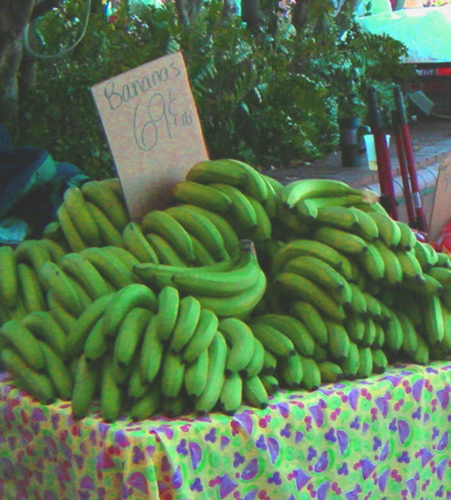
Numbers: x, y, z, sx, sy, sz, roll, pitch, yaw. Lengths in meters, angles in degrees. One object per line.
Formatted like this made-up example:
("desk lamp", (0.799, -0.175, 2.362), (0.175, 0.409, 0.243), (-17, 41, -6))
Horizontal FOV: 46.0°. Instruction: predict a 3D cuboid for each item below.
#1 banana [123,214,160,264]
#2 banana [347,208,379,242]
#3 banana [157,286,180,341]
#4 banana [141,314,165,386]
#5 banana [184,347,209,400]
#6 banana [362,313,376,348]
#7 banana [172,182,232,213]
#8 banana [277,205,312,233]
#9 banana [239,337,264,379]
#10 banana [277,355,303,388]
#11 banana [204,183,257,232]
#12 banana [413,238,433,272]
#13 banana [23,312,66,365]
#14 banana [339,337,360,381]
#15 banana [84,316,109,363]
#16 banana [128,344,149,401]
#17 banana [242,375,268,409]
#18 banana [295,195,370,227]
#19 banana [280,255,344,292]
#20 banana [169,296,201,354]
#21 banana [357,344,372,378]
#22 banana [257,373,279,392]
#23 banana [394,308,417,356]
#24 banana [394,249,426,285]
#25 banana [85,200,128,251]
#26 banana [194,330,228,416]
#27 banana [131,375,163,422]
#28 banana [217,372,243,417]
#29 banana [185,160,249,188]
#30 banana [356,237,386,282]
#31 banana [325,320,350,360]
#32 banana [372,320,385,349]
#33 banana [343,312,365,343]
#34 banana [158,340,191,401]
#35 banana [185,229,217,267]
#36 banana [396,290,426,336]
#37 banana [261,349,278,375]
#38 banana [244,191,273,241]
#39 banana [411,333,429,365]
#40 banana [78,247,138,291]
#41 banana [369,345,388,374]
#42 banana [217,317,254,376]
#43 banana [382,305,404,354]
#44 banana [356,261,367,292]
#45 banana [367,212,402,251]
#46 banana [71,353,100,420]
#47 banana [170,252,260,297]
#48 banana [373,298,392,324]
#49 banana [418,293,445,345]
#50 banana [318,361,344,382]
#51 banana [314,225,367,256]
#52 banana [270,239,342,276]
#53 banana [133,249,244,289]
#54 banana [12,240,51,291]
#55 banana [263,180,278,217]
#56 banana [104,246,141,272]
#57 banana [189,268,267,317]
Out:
("banana", (-0.319, -0.020, 1.989), (0.077, 0.073, 0.237), (-22, 65, -30))
("banana", (0.510, -0.085, 1.962), (0.065, 0.054, 0.195), (1, 31, 2))
("banana", (-0.161, 0.173, 1.550), (0.043, 0.045, 0.164), (-15, 28, 10))
("banana", (-0.199, 0.277, 1.458), (0.057, 0.048, 0.176), (-1, 55, 16))
("banana", (-0.078, 0.342, 1.448), (0.042, 0.055, 0.154), (10, 45, 7))
("banana", (0.478, 0.270, 1.796), (0.037, 0.043, 0.126), (23, 53, -17))
("banana", (-0.107, -0.207, 2.094), (0.301, 0.098, 0.081), (14, -2, 34))
("banana", (0.246, -0.127, 2.039), (0.056, 0.066, 0.190), (-2, 25, -47))
("banana", (0.083, 0.320, 1.557), (0.031, 0.072, 0.132), (-36, 11, 24))
("banana", (0.194, 0.373, 1.659), (0.057, 0.039, 0.102), (-46, 32, 22))
("banana", (0.032, -0.205, 2.049), (0.076, 0.097, 0.286), (-19, 66, -46))
("banana", (0.720, 0.019, 1.992), (0.044, 0.048, 0.136), (16, 35, -19))
("banana", (-0.567, 0.256, 1.658), (0.097, 0.052, 0.187), (-20, 59, -34))
("banana", (0.397, 0.352, 1.715), (0.042, 0.133, 0.046), (13, -24, -24))
("banana", (-0.367, 0.252, 1.522), (0.059, 0.122, 0.043), (6, -17, 44))
("banana", (-0.234, 0.334, 1.447), (0.042, 0.036, 0.131), (-9, 65, 23))
("banana", (0.083, 0.405, 1.518), (0.044, 0.038, 0.124), (12, 15, -19))
("banana", (0.399, -0.147, 2.002), (0.249, 0.057, 0.083), (-13, 41, -40))
("banana", (0.274, 0.079, 1.821), (0.273, 0.078, 0.108), (13, 17, 21))
("banana", (-0.110, 0.213, 1.526), (0.051, 0.057, 0.170), (16, 35, 1))
("banana", (0.454, 0.366, 1.735), (0.036, 0.043, 0.126), (17, 44, -9))
("banana", (0.123, 0.392, 1.594), (0.034, 0.027, 0.096), (-9, 16, -22))
("banana", (0.640, 0.296, 1.913), (0.043, 0.053, 0.157), (9, 39, -18))
("banana", (0.647, 0.062, 1.905), (0.051, 0.057, 0.156), (10, 39, -30))
("banana", (-0.476, -0.092, 2.084), (0.047, 0.198, 0.065), (-42, -6, 34))
("banana", (-0.034, 0.343, 1.497), (0.053, 0.087, 0.256), (-40, 33, 36))
("banana", (-0.213, 0.415, 1.450), (0.050, 0.044, 0.154), (-32, 27, 31))
("banana", (0.014, 0.401, 1.478), (0.040, 0.046, 0.128), (0, 33, 10))
("banana", (-0.035, -0.300, 2.139), (0.111, 0.085, 0.392), (-49, 27, -21))
("banana", (0.494, 0.021, 1.894), (0.051, 0.064, 0.185), (-31, 40, 8))
("banana", (0.363, 0.287, 1.732), (0.047, 0.041, 0.135), (-26, 27, 19))
("banana", (0.525, 0.294, 1.820), (0.022, 0.078, 0.065), (-5, -13, 27))
("banana", (0.443, 0.281, 1.812), (0.080, 0.055, 0.155), (-2, 9, 9))
("banana", (-0.144, 0.325, 1.515), (0.063, 0.056, 0.193), (-31, 29, 33))
("banana", (-0.090, 0.010, 1.947), (0.047, 0.174, 0.059), (-38, -18, 12))
("banana", (0.663, 0.216, 1.971), (0.052, 0.063, 0.190), (-17, 51, -11))
("banana", (0.133, 0.343, 1.628), (0.040, 0.071, 0.023), (-14, 42, 4))
("banana", (0.122, -0.139, 1.992), (0.061, 0.054, 0.181), (0, 46, -18))
("banana", (0.683, 0.357, 1.874), (0.053, 0.077, 0.130), (-5, 20, 27))
("banana", (-0.398, 0.062, 1.821), (0.230, 0.128, 0.056), (34, 49, 17))
("banana", (0.510, 0.369, 1.777), (0.036, 0.030, 0.107), (-23, 27, 4))
("banana", (0.033, 0.277, 1.600), (0.108, 0.059, 0.214), (-5, 34, -8))
("banana", (0.582, 0.284, 1.888), (0.046, 0.052, 0.153), (-37, 41, 38))
("banana", (0.485, 0.092, 1.908), (0.036, 0.112, 0.030), (-5, 1, -32))
("banana", (0.576, -0.074, 1.922), (0.100, 0.057, 0.194), (-18, 34, -3))
("banana", (-0.396, 0.387, 1.534), (0.051, 0.062, 0.192), (-13, 41, 21))
("banana", (0.000, 0.097, 1.732), (0.128, 0.144, 0.388), (16, 17, 41))
("banana", (0.546, 0.215, 1.886), (0.046, 0.038, 0.137), (23, 14, -2))
("banana", (0.727, 0.239, 1.876), (0.064, 0.052, 0.217), (-9, 58, 19))
("banana", (0.338, 0.388, 1.716), (0.075, 0.053, 0.057), (-11, 18, 8))
("banana", (0.404, -0.039, 1.935), (0.202, 0.068, 0.064), (26, 21, 37))
("banana", (0.281, 0.007, 1.880), (0.210, 0.120, 0.052), (-3, -19, 28))
("banana", (-0.049, 0.070, 1.850), (0.311, 0.121, 0.066), (-13, 63, 25))
("banana", (-0.720, 0.035, 2.004), (0.051, 0.193, 0.186), (-26, 55, -28))
("banana", (0.160, -0.204, 2.067), (0.041, 0.051, 0.155), (5, 56, -16))
("banana", (-0.365, 0.017, 1.894), (0.074, 0.036, 0.143), (-13, 36, -35))
("banana", (0.032, 0.142, 1.714), (0.162, 0.131, 0.052), (1, 49, -22))
